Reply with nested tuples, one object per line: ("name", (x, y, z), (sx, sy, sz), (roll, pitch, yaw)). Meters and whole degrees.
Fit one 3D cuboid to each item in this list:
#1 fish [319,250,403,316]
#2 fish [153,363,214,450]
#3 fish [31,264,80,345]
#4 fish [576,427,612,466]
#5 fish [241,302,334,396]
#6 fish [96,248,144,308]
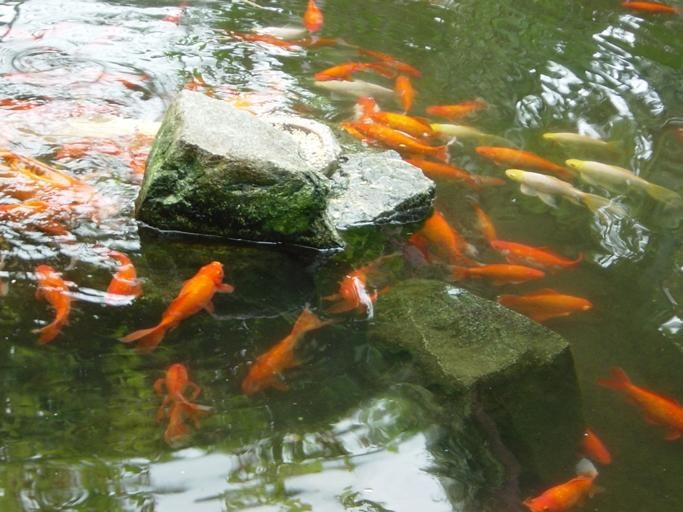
("fish", (0.150, 0.251, 6.468), (0.575, 0.399, 0.883), (-5, 4, 4))
("fish", (-1.230, 1.113, 5.655), (0.425, 0.217, 0.522), (-8, 51, -10))
("fish", (-2.303, 0.343, 6.012), (0.363, 0.189, 0.710), (-7, 45, -13))
("fish", (1.975, 1.487, 5.867), (0.177, 0.074, 0.252), (-40, 80, -26))
("fish", (-0.488, 0.764, 6.021), (0.361, 0.234, 0.784), (47, 58, -4))
("fish", (-1.786, 0.185, 6.209), (0.348, 0.145, 0.410), (13, 39, -2))
